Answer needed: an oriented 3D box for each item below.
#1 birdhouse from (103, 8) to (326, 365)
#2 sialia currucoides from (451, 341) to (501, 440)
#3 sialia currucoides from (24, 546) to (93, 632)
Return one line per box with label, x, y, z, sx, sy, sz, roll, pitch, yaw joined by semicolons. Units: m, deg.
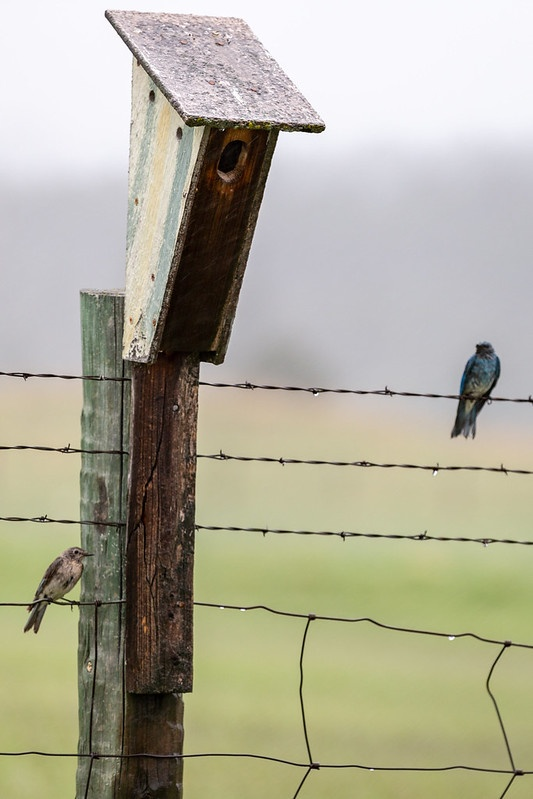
birdhouse;-0.194;-0.636;5.137;0.566;1.096;0.492;0;7;-21
sialia currucoides;1.011;-0.059;8.162;0.118;0.509;0.196;10;-5;-7
sialia currucoides;-0.706;0.627;5.644;0.104;0.179;0.336;20;-37;-32
